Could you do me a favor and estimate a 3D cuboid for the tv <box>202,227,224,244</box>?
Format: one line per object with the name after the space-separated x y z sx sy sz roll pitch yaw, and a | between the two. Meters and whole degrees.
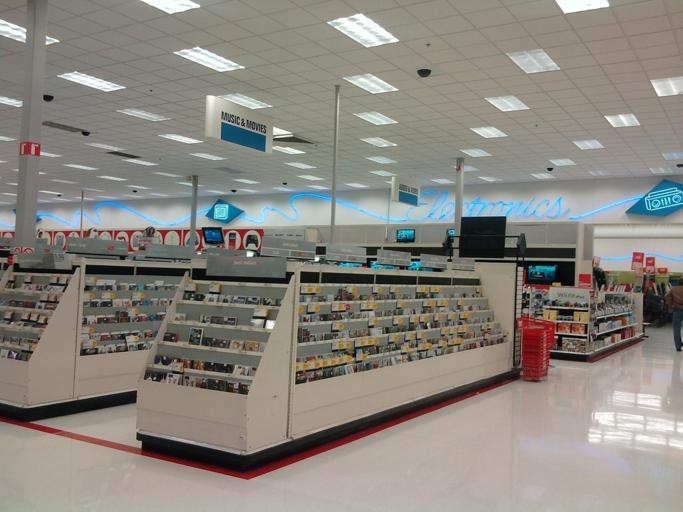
-4.683 -0.774 17.344 0.873 0.564 0.259 1 9 16 | tv

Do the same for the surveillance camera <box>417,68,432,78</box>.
1.575 -3.472 9.084 0.258 0.125 0.449 3 -1 10 | surveillance camera

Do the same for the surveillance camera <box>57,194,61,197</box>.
-15.116 -3.266 25.434 0.200 0.083 0.125 2 3 24 | surveillance camera

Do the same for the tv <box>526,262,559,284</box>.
6.263 0.511 14.772 0.824 0.553 0.113 0 -10 37 | tv
